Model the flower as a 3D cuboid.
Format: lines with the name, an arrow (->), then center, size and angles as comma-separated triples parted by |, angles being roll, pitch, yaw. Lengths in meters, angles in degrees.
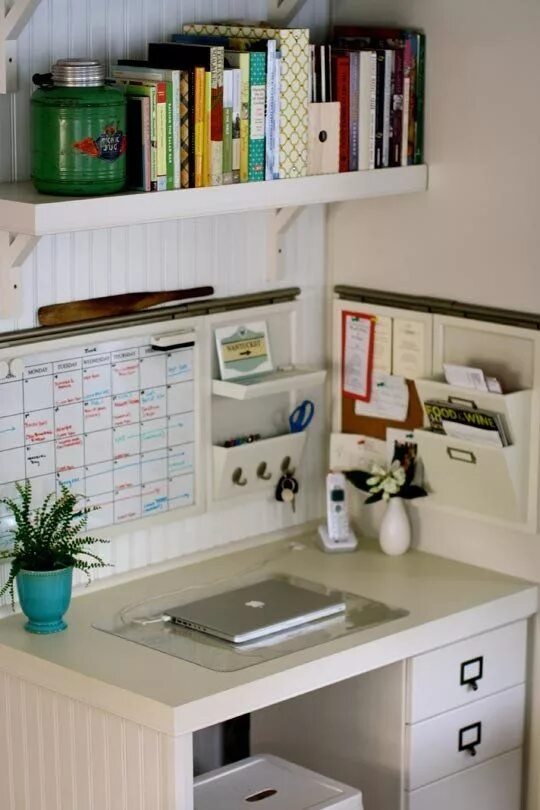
flower -> 0.279, 0.170, 1.770 | 0.154, 0.150, 0.069 | 23, 5, 31

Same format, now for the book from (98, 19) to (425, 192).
book -> 0.005, -0.592, 1.430 | 0.217, 0.371, 0.776 | 8, 17, 40

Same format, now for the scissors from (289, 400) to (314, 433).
scissors -> 0.079, 0.022, 1.896 | 0.028, 0.042, 0.093 | -26, 32, 59

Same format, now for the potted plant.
potted plant -> -0.406, 0.269, 1.384 | 0.207, 0.267, 0.248 | 2, -2, 31
